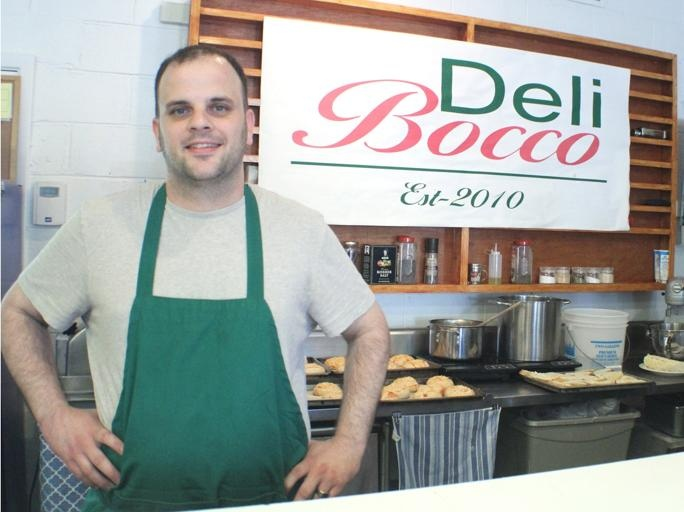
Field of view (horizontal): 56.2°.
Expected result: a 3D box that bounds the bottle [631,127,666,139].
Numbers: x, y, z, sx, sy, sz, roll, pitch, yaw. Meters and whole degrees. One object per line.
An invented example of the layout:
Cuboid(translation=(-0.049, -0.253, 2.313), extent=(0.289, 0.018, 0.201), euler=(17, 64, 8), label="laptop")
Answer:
Cuboid(translation=(2.040, -0.822, 4.267), extent=(0.242, 0.064, 0.106), euler=(1, 3, 3), label="bottle")

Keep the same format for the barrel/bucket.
Cuboid(translation=(1.536, 0.477, 3.838), extent=(0.368, 0.323, 0.392), euler=(-1, 0, 0), label="barrel/bucket")

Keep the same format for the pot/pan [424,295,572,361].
Cuboid(translation=(0.954, 0.413, 3.822), extent=(0.952, 0.319, 0.351), euler=(-2, 0, -3), label="pot/pan")

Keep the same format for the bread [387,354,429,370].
Cuboid(translation=(0.365, 0.600, 3.619), extent=(0.205, 0.051, 0.173), euler=(2, -3, -13), label="bread")

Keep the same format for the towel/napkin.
Cuboid(translation=(0.474, 0.896, 3.089), extent=(0.753, 0.468, 0.080), euler=(-1, 1, -15), label="towel/napkin")
